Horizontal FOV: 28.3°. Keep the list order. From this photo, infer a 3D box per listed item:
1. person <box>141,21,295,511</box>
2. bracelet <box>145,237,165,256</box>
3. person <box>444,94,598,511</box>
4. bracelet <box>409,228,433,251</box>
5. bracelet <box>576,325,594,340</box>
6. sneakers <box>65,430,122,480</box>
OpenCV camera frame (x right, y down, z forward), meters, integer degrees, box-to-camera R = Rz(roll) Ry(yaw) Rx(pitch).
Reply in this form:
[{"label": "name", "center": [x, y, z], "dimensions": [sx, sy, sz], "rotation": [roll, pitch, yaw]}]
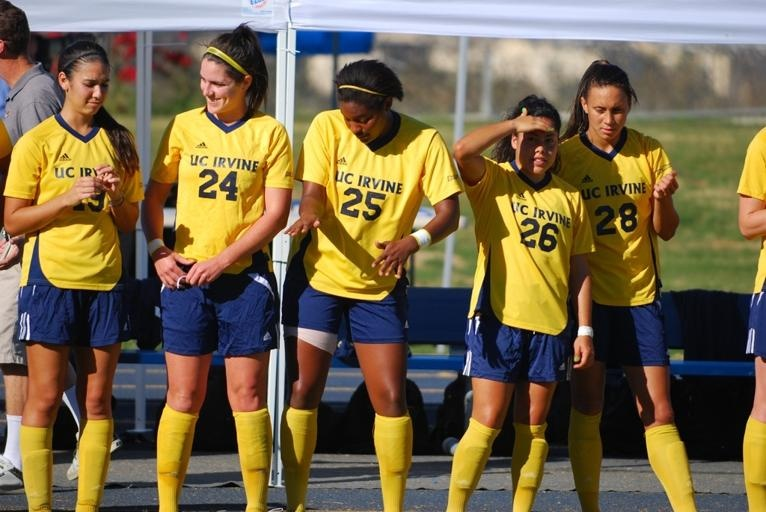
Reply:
[{"label": "person", "center": [-1.173, 0.084, 10.989], "dimensions": [1.056, 3.509, 0.380], "rotation": [0, 3, -6]}, {"label": "bracelet", "center": [-1.655, -0.081, 11.032], "dimensions": [0.110, 0.080, 0.113], "rotation": [-23, 7, 47]}, {"label": "person", "center": [1.022, 0.344, 11.062], "dimensions": [1.026, 3.025, 0.447], "rotation": [1, 3, 8]}, {"label": "bracelet", "center": [0.284, -0.138, 10.953], "dimensions": [0.153, 0.142, 0.146], "rotation": [1, 3, 7]}, {"label": "bracelet", "center": [1.475, 0.536, 11.020], "dimensions": [0.109, 0.084, 0.155], "rotation": [1, 3, 6]}, {"label": "sneakers", "center": [-2.179, 1.495, 11.468], "dimensions": [0.219, 0.491, 0.168], "rotation": [27, 20, -26]}]
